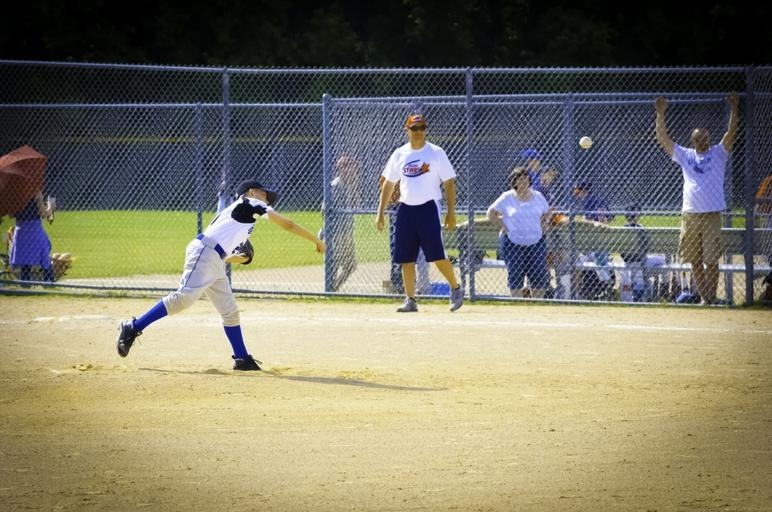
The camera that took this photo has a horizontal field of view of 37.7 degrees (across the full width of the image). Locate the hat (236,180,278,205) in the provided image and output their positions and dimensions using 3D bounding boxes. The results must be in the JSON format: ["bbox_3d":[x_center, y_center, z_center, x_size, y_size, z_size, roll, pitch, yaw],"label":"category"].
[{"bbox_3d":[-1.735,-0.920,15.285,0.486,0.222,0.296,15,-8,-14],"label":"hat"}]

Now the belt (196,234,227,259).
[{"bbox_3d":[-2.292,-0.154,14.845,0.331,0.087,0.326,33,-5,24],"label":"belt"}]

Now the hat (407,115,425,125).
[{"bbox_3d":[0.422,-2.066,16.964,0.258,0.178,0.347,1,-1,-10],"label":"hat"}]

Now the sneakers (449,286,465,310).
[{"bbox_3d":[1.047,0.625,17.074,0.192,0.386,0.152,3,6,-17],"label":"sneakers"}]

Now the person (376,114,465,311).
[{"bbox_3d":[0.511,-0.677,17.044,1.284,2.950,0.571,1,-2,2],"label":"person"}]

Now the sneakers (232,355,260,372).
[{"bbox_3d":[-1.853,1.403,14.879,0.435,0.159,0.153,2,2,-1],"label":"sneakers"}]

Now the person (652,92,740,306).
[{"bbox_3d":[4.824,-0.891,17.707,1.205,3.259,0.803,1,-2,7],"label":"person"}]

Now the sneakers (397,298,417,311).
[{"bbox_3d":[0.338,0.737,17.367,0.371,0.234,0.142,0,2,4],"label":"sneakers"}]
